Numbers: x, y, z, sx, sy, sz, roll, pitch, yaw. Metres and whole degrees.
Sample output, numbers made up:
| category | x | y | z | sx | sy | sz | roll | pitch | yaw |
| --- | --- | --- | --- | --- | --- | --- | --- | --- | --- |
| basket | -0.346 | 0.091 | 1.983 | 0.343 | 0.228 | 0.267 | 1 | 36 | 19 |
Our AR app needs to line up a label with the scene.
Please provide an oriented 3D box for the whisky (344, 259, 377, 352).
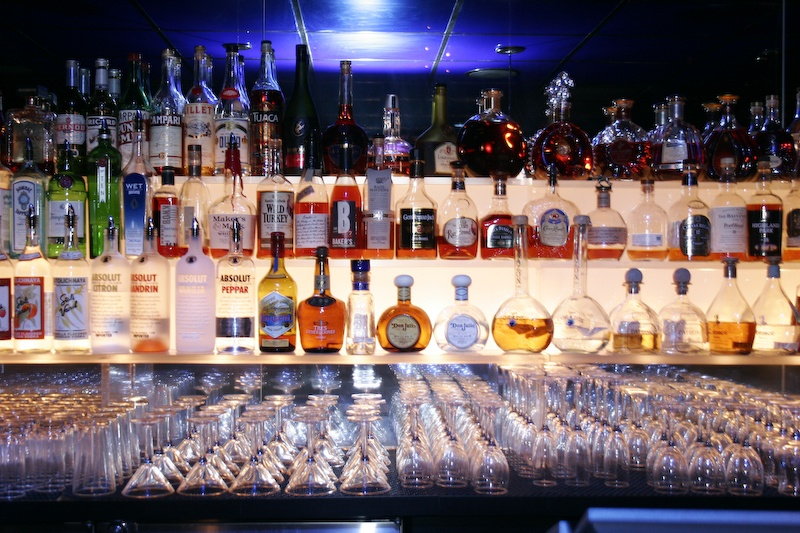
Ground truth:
| category | x | y | z | sx | sy | sz | roll | pitch | yaw |
| --- | --- | --- | --- | --- | --- | --- | --- | --- | --- |
| whisky | -0.139 | 0.139 | 3.127 | 0.105 | 0.325 | 0.142 | -1 | 1 | -2 |

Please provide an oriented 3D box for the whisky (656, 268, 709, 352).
| category | x | y | z | sx | sy | sz | roll | pitch | yaw |
| --- | --- | --- | --- | --- | --- | --- | --- | --- | --- |
| whisky | 1.005 | 0.201 | 3.172 | 0.168 | 0.201 | 0.084 | -1 | 1 | 12 |

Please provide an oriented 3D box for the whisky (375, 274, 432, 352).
| category | x | y | z | sx | sy | sz | roll | pitch | yaw |
| --- | --- | --- | --- | --- | --- | --- | --- | --- | --- |
| whisky | 0.011 | 0.165 | 3.132 | 0.164 | 0.264 | 0.089 | -1 | 1 | 20 |

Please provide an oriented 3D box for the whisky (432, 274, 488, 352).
| category | x | y | z | sx | sy | sz | roll | pitch | yaw |
| --- | --- | --- | --- | --- | --- | --- | --- | --- | --- |
| whisky | 0.215 | 0.164 | 3.155 | 0.188 | 0.266 | 0.083 | -1 | 1 | -4 |

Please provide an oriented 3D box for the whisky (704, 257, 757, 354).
| category | x | y | z | sx | sy | sz | roll | pitch | yaw |
| --- | --- | --- | --- | --- | --- | --- | --- | --- | --- |
| whisky | 1.175 | 0.175 | 3.182 | 0.160 | 0.265 | 0.079 | -1 | 1 | 14 |

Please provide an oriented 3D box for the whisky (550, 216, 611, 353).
| category | x | y | z | sx | sy | sz | roll | pitch | yaw |
| --- | --- | --- | --- | --- | --- | --- | --- | --- | --- |
| whisky | 0.637 | 0.063 | 3.176 | 0.169 | 0.478 | 0.139 | -1 | 1 | -26 |
